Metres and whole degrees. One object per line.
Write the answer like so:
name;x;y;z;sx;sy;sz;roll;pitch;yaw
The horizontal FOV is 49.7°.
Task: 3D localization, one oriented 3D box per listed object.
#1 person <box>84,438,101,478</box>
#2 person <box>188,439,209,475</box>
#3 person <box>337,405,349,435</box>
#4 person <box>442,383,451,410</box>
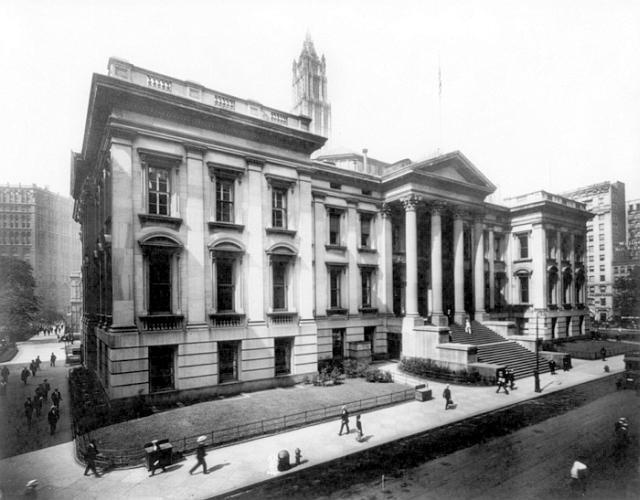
person;-14.094;12.911;42.606;0.893;1.787;1.216;-6;15;-21
person;-7.391;12.472;42.573;0.954;2.368;1.073;-2;14;-8
person;1.670;11.366;46.229;0.755;1.708;1.044;0;14;3
person;9.433;10.607;50.306;0.626;1.597;1.816;3;15;13
